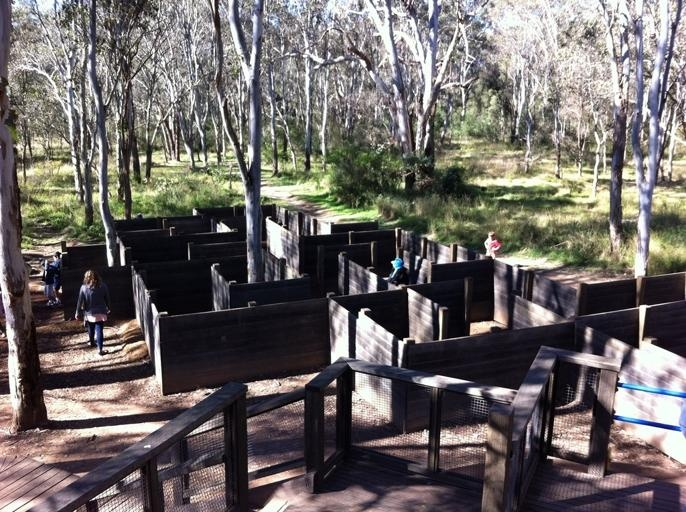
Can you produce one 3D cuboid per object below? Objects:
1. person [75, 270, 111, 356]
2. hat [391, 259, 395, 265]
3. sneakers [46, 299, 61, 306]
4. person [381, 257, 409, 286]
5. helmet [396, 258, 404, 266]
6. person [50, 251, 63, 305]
[{"bbox_3d":[-5.374,1.137,13.858,0.608,1.986,0.599,0,24,-16],"label":"person"},{"bbox_3d":[1.272,0.137,16.156,0.115,0.141,0.129,0,5,0],"label":"hat"},{"bbox_3d":[-7.577,1.227,16.890,0.364,0.188,0.137,1,32,5],"label":"sneakers"},{"bbox_3d":[1.335,0.379,15.255,0.429,0.581,0.890,-2,10,8],"label":"person"},{"bbox_3d":[1.356,0.146,15.325,0.162,0.186,0.180,-3,6,-6],"label":"helmet"},{"bbox_3d":[-7.413,0.570,16.722,0.258,1.418,0.696,-7,10,-25],"label":"person"}]
